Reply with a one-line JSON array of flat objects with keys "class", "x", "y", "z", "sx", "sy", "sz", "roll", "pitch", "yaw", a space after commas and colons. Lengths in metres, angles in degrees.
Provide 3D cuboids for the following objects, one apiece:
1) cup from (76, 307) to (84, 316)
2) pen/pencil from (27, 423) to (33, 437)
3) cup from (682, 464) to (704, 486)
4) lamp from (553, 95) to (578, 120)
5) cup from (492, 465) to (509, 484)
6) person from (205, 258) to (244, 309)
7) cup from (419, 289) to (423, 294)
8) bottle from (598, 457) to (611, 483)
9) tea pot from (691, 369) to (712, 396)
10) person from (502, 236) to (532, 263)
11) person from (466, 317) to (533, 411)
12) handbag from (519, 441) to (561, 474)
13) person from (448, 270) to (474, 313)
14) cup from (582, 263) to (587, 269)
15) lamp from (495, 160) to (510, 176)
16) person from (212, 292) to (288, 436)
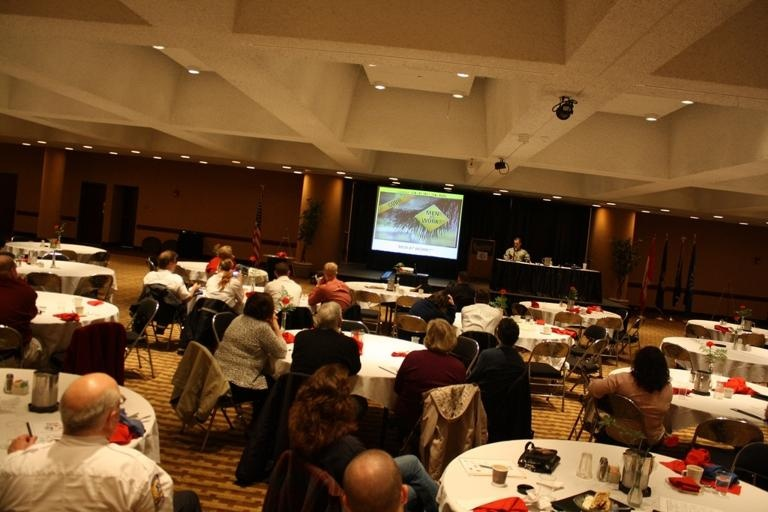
[{"class": "cup", "x": -3.947, "y": 0.714, "z": 6.989, "sx": 0.099, "sy": 0.096, "sz": 0.093, "roll": 2, "pitch": 6, "yaw": 0}, {"class": "pen/pencil", "x": -2.707, "y": 1.320, "z": 4.103, "sx": 0.018, "sy": 0.017, "sz": 0.122, "roll": 18, "pitch": 8, "yaw": -25}, {"class": "cup", "x": 2.570, "y": 1.800, "z": 4.463, "sx": 0.123, "sy": 0.130, "sz": 0.184, "roll": 7, "pitch": -2, "yaw": 35}, {"class": "lamp", "x": 2.362, "y": -1.888, "z": 6.990, "sx": 0.255, "sy": 0.279, "sz": 0.440, "roll": 7, "pitch": -2, "yaw": 19}, {"class": "cup", "x": 0.919, "y": 1.708, "z": 4.269, "sx": 0.118, "sy": 0.097, "sz": 0.116, "roll": 0, "pitch": 1, "yaw": 0}, {"class": "person", "x": -2.611, "y": 0.463, "z": 8.787, "sx": 0.487, "sy": 0.983, "sz": 0.604, "roll": 7, "pitch": 27, "yaw": -9}, {"class": "cup", "x": 0.772, "y": 0.731, "z": 11.259, "sx": 0.085, "sy": 0.087, "sz": 0.087, "roll": 2, "pitch": 0, "yaw": 0}, {"class": "bottle", "x": 1.809, "y": 1.755, "z": 4.425, "sx": 0.066, "sy": 0.171, "sz": 0.170, "roll": 3, "pitch": -3, "yaw": 11}, {"class": "tea pot", "x": 3.926, "y": 1.560, "z": 6.702, "sx": 0.198, "sy": 0.332, "sz": 0.329, "roll": 2, "pitch": -5, "yaw": 14}, {"class": "person", "x": 4.263, "y": -0.203, "z": 17.080, "sx": 0.882, "sy": 1.260, "sz": 0.714, "roll": 0, "pitch": -5, "yaw": 10}, {"class": "person", "x": 1.346, "y": 1.231, "z": 6.131, "sx": 0.697, "sy": 0.949, "sz": 0.441, "roll": 8, "pitch": -2, "yaw": 9}, {"class": "handbag", "x": 1.289, "y": 1.686, "z": 4.515, "sx": 0.209, "sy": 0.074, "sz": 0.213, "roll": 7, "pitch": 20, "yaw": 31}, {"class": "person", "x": 1.673, "y": 0.753, "z": 11.469, "sx": 0.658, "sy": 1.092, "sz": 0.773, "roll": 0, "pitch": 0, "yaw": -10}, {"class": "cup", "x": 5.753, "y": 0.290, "z": 15.447, "sx": 0.131, "sy": 0.136, "sz": 0.244, "roll": 10, "pitch": 2, "yaw": 12}, {"class": "lamp", "x": 2.527, "y": -1.901, "z": 11.536, "sx": 0.342, "sy": 0.178, "sz": 0.493, "roll": 1, "pitch": 3, "yaw": 13}, {"class": "person", "x": -1.525, "y": 1.031, "z": 6.162, "sx": 0.785, "sy": 1.390, "sz": 0.404, "roll": 8, "pitch": -1, "yaw": -12}]
